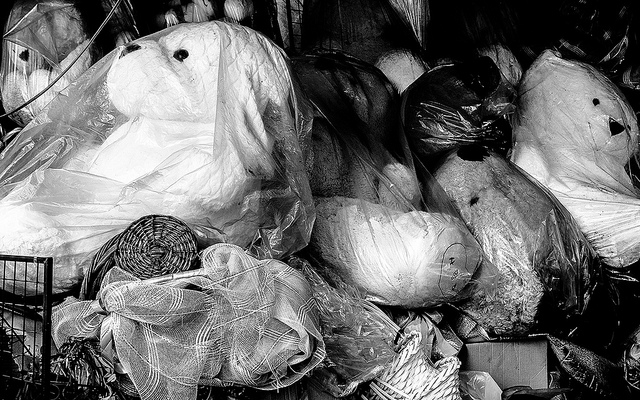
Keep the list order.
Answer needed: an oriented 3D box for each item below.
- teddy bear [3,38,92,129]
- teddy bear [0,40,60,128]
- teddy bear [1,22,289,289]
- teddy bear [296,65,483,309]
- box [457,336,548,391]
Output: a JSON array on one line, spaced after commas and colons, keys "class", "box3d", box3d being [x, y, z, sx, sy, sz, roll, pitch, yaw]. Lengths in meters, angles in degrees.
[{"class": "teddy bear", "box3d": [-0.735, -0.254, 2.334, 0.219, 0.288, 0.119, -6, -3, -8]}, {"class": "teddy bear", "box3d": [-0.735, -0.303, 2.357, 0.167, 0.237, 0.092, -1, 8, 33]}, {"class": "teddy bear", "box3d": [-0.390, -0.152, 2.161, 0.672, 0.500, 0.485, -9, 25, -23]}, {"class": "teddy bear", "box3d": [0.115, -0.043, 2.247, 0.447, 0.608, 0.227, -5, -25, -26]}, {"class": "box", "box3d": [0.527, 0.415, 2.375, 0.204, 0.135, 0.110, -8, 6, 45]}]
